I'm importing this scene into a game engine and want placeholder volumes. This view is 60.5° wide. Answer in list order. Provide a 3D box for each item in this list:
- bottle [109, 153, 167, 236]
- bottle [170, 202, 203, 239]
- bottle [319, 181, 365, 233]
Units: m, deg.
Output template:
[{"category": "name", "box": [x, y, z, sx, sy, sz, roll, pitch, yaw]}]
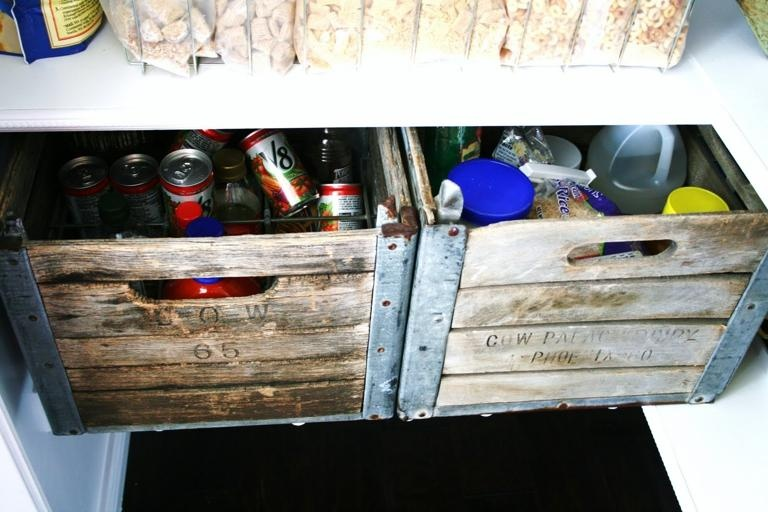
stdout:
[{"category": "bottle", "box": [-0.527, -0.130, 1.408, 0.122, 0.175, 0.093, 4, 56, -6]}, {"category": "bottle", "box": [-0.405, -0.084, 1.412, 0.089, 0.068, 0.067, 5, 62, -7]}, {"category": "bottle", "box": [-0.111, -0.126, 1.558, 0.151, 0.122, 0.126, -2, 18, -6]}]
